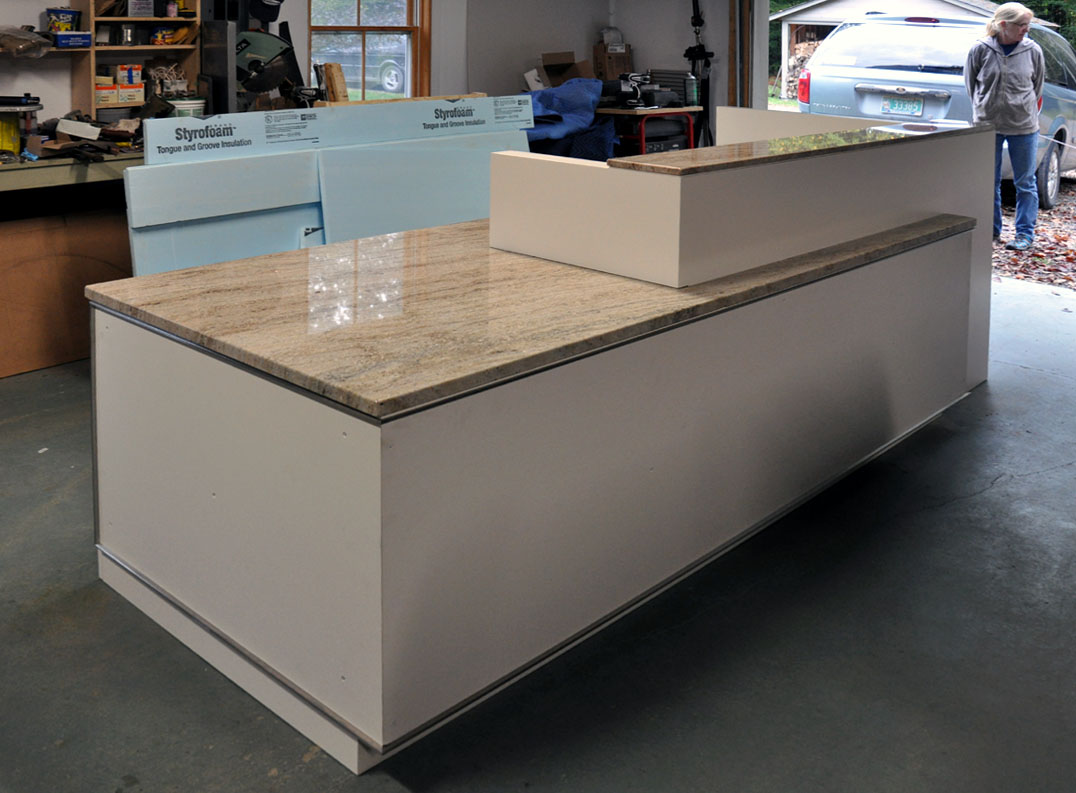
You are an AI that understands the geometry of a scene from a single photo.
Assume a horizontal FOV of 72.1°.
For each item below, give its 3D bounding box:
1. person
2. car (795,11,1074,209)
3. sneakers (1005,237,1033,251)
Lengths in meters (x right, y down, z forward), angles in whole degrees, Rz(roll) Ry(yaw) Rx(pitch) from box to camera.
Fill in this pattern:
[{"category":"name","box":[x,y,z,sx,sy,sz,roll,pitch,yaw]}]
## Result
[{"category":"person","box":[3.813,-2.169,6.044,0.660,1.868,0.414,7,21,24]},{"category":"car","box":[3.797,-2.733,7.185,3.138,1.422,1.744,-22,28,-29]},{"category":"sneakers","box":[3.991,-1.251,6.152,0.248,0.097,0.100,-7,31,-13]}]
